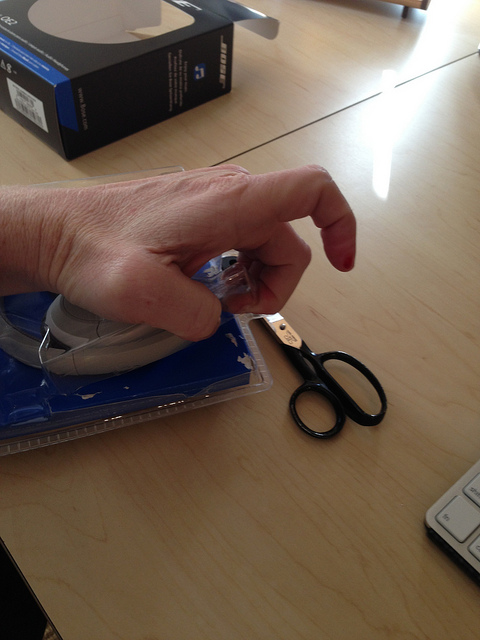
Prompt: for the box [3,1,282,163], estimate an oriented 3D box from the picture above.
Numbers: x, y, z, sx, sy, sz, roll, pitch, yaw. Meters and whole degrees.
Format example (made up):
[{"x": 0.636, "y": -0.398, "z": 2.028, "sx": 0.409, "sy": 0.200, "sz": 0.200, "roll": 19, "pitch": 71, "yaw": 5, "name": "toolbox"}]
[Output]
[{"x": -0.127, "y": -0.326, "z": 0.775, "sx": 0.302, "sy": 0.084, "sz": 0.219, "roll": -30, "pitch": 56, "yaw": -33, "name": "box"}]
